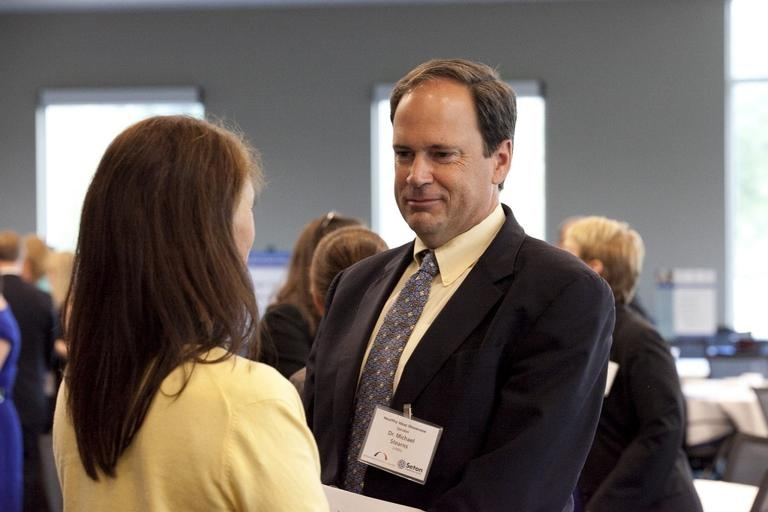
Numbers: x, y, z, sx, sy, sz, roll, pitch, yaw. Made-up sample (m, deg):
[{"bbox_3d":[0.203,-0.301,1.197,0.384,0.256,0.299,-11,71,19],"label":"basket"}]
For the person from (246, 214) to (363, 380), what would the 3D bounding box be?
[{"bbox_3d":[-0.451,0.212,5.546,0.467,0.464,1.024,9,31,-2],"label":"person"}]
